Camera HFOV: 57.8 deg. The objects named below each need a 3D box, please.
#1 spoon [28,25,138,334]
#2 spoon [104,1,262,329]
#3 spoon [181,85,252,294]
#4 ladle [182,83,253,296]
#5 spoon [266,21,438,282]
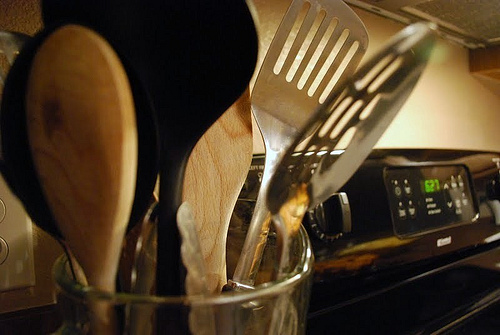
[{"bbox_3d":[-0.208,-0.028,0.576,0.087,0.473,0.063,-1,7,2],"label":"spoon"},{"bbox_3d":[-0.099,0.045,0.585,0.124,0.532,0.069,3,1,35],"label":"spoon"},{"bbox_3d":[-0.055,-0.012,0.653,0.045,0.364,0.058,-4,-22,38],"label":"spoon"},{"bbox_3d":[-0.050,-0.012,0.645,0.047,0.364,0.060,-6,-27,36],"label":"ladle"},{"bbox_3d":[0.164,-0.016,0.756,0.078,0.597,0.077,32,-9,-11],"label":"spoon"}]
